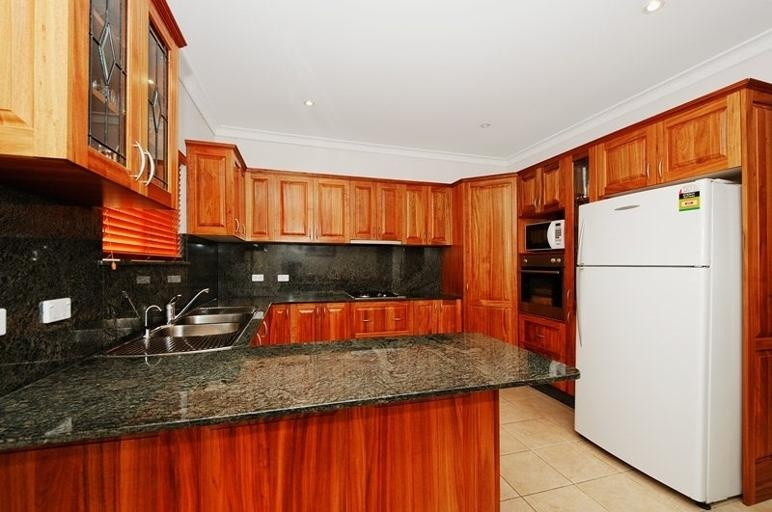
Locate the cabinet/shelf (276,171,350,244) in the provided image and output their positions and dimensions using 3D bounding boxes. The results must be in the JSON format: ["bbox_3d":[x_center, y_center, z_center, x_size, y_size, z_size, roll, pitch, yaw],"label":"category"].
[{"bbox_3d":[-0.765,-0.493,5.007,0.786,0.637,0.288,1,2,-15],"label":"cabinet/shelf"}]

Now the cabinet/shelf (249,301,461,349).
[{"bbox_3d":[-0.152,0.615,4.903,1.974,0.505,0.138,-5,15,-18],"label":"cabinet/shelf"}]

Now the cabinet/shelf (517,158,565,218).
[{"bbox_3d":[1.491,-0.631,4.707,0.252,0.532,0.633,3,-5,-13],"label":"cabinet/shelf"}]

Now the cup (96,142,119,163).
[{"bbox_3d":[-1.318,-0.493,2.334,0.060,0.071,0.220,-1,18,-16],"label":"cup"}]

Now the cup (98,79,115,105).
[{"bbox_3d":[-1.322,-0.781,2.343,0.033,0.105,0.076,1,24,30],"label":"cup"}]

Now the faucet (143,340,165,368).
[{"bbox_3d":[-1.372,0.575,2.914,0.083,0.077,0.597,-8,15,-25],"label":"faucet"}]

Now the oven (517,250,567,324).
[{"bbox_3d":[1.621,0.279,4.749,0.456,0.617,0.572,-2,1,-30],"label":"oven"}]

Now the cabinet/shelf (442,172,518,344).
[{"bbox_3d":[1.074,0.004,5.109,0.662,1.664,0.583,3,15,14],"label":"cabinet/shelf"}]

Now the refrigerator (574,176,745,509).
[{"bbox_3d":[1.976,0.502,3.430,0.588,2.045,1.101,-10,17,-32],"label":"refrigerator"}]

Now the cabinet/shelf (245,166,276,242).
[{"bbox_3d":[-1.228,-0.499,4.835,0.278,0.669,0.225,-4,15,-10],"label":"cabinet/shelf"}]
